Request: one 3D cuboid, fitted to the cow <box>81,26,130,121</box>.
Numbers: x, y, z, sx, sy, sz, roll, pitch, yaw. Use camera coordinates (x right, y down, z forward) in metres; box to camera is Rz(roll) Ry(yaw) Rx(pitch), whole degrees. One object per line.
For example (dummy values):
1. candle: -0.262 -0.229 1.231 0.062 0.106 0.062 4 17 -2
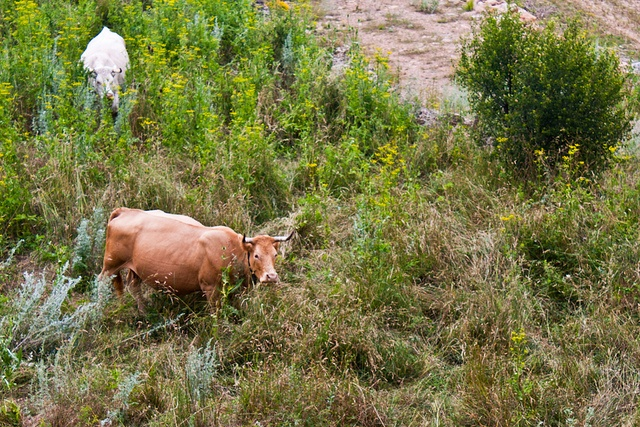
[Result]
1. cow: -3.611 -2.515 12.850 0.567 1.042 2.012 1 50 -6
